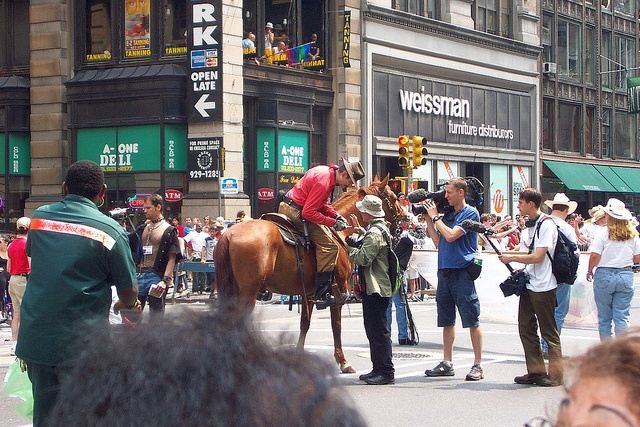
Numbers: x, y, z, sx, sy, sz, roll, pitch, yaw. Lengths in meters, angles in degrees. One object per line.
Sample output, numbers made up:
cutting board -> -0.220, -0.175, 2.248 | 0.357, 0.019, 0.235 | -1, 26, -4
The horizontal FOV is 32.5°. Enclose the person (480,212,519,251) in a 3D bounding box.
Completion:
person -> 5.593, 0.608, 34.457 | 0.817, 1.576, 0.496 | -6, 24, -1

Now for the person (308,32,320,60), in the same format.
person -> -0.276, -6.998, 46.422 | 0.320, 1.245, 0.698 | -2, -2, 17

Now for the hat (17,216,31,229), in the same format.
hat -> -8.288, 0.259, 30.579 | 0.305, 0.342, 0.414 | -1, 16, -11

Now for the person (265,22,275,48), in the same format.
person -> -2.114, -7.258, 45.043 | 0.187, 1.131, 0.580 | -3, -3, 36

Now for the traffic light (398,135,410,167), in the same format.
traffic light -> 2.832, -2.111, 37.584 | 0.334, 1.065, 0.684 | -1, -2, 7

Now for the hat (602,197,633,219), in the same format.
hat -> 7.415, -0.135, 27.781 | 0.480, 0.211, 0.563 | 18, 16, -11

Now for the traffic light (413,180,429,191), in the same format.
traffic light -> 3.820, -1.068, 42.306 | 0.256, 0.556, 0.570 | -9, -11, 33

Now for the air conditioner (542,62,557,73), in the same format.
air conditioner -> 11.831, -7.504, 56.827 | 0.470, 0.616, 0.878 | -3, -3, 37

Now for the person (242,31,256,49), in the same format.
person -> -2.909, -6.951, 44.202 | 0.328, 0.776, 0.853 | -2, -2, 25

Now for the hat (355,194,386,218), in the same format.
hat -> 1.226, -0.181, 26.741 | 0.556, 0.294, 0.520 | 27, 35, 33

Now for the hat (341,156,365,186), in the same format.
hat -> 0.771, -1.068, 27.234 | 0.234, 0.637, 0.560 | -18, 23, 6

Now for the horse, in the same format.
horse -> -0.375, 1.537, 27.364 | 5.016, 4.713, 1.559 | 0, -3, -27
